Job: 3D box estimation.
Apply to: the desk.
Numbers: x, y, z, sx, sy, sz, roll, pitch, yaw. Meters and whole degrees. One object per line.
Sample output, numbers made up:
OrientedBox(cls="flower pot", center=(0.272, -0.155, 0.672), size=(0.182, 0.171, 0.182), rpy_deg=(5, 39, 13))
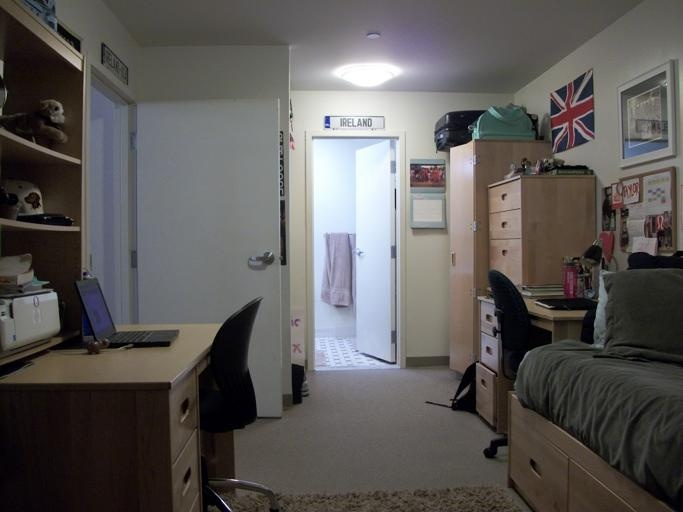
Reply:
OrientedBox(cls="desk", center=(1.120, 0.626, 3.108), size=(0.322, 0.809, 0.889), rpy_deg=(1, -1, -2))

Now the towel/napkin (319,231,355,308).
OrientedBox(cls="towel/napkin", center=(-0.044, 0.184, 6.367), size=(0.431, 0.891, 0.283), rpy_deg=(1, 7, 8))

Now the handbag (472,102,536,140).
OrientedBox(cls="handbag", center=(1.337, -1.052, 4.465), size=(0.299, 0.169, 0.406), rpy_deg=(-1, 7, 3))

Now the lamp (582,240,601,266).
OrientedBox(cls="lamp", center=(1.585, -0.011, 3.444), size=(0.094, 0.148, 0.151), rpy_deg=(7, 11, 43))

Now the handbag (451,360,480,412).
OrientedBox(cls="handbag", center=(0.912, 0.974, 4.069), size=(0.159, 0.341, 0.239), rpy_deg=(5, -38, 0))

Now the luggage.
OrientedBox(cls="luggage", center=(1.132, -1.121, 4.869), size=(0.451, 0.191, 0.502), rpy_deg=(-1, 2, -11))

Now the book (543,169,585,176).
OrientedBox(cls="book", center=(1.647, -0.615, 3.969), size=(0.287, 0.054, 0.071), rpy_deg=(-2, 8, -7))

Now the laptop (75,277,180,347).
OrientedBox(cls="laptop", center=(-1.038, 0.214, 2.610), size=(0.315, 0.243, 0.375), rpy_deg=(-1, 1, -7))
